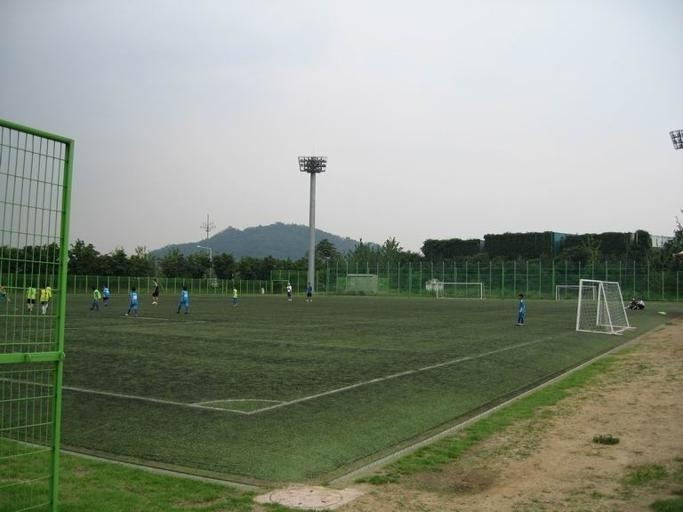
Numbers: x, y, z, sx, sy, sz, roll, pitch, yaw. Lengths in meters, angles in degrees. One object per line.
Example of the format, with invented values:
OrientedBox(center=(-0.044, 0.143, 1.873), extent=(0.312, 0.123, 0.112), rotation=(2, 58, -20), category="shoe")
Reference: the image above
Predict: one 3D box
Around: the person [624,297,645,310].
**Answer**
OrientedBox(center=(25.408, 4.069, 51.718), extent=(1.148, 1.294, 2.187), rotation=(4, -12, -11), category="person")
